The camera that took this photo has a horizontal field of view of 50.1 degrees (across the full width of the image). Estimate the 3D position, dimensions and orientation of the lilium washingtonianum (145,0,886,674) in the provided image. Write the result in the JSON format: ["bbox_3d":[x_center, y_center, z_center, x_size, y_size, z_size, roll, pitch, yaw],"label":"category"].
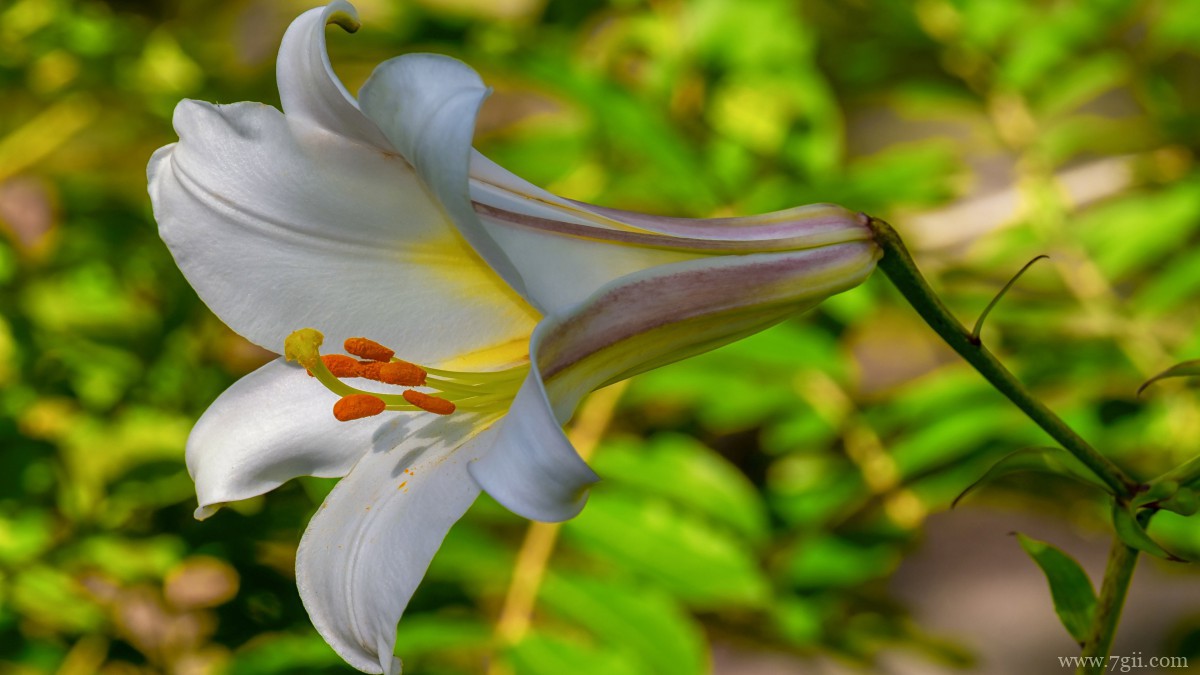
[{"bbox_3d":[-0.295,-0.075,2.809,1.447,1.383,0.599,-17,15,-5],"label":"lilium washingtonianum"}]
